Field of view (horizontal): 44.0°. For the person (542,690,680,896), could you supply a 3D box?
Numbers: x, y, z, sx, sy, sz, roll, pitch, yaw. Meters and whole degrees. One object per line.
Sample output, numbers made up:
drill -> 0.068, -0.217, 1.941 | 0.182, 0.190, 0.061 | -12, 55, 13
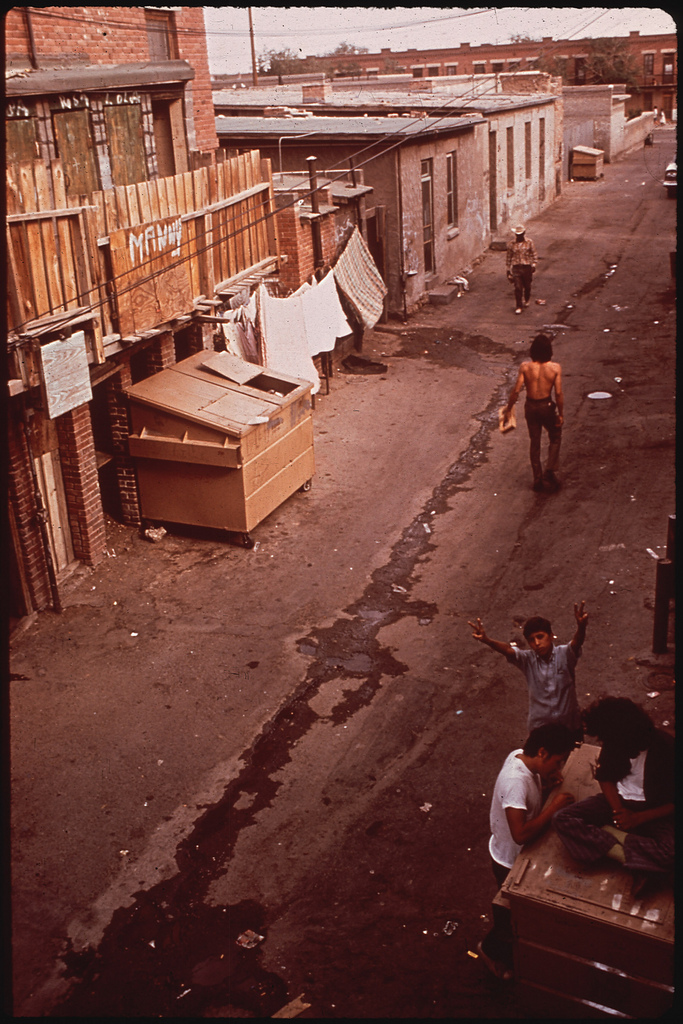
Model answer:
person -> 1.284, 1.184, 3.895 | 0.555, 0.711, 0.728 | 8, 24, 39

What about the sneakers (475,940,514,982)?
sneakers -> 0.765, 2.235, 4.208 | 0.134, 0.237, 0.083 | -22, -6, -37

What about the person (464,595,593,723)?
person -> 1.193, 0.976, 5.115 | 0.451, 0.869, 0.459 | 11, 25, 42

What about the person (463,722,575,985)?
person -> 0.885, 1.739, 4.201 | 0.463, 1.295, 0.514 | -1, 41, 2
